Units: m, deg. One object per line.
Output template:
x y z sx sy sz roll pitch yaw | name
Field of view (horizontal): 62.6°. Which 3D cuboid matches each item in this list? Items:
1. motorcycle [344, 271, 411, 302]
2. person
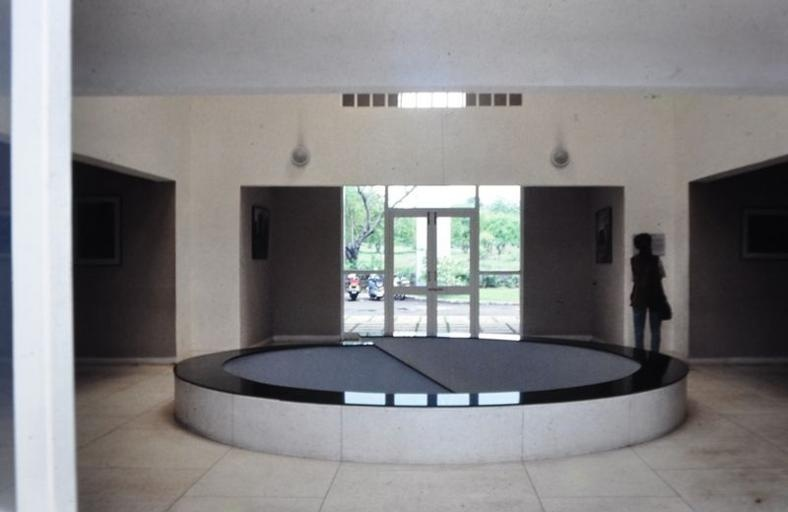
-0.277 0.454 9.682 0.968 0.413 0.133 1 4 19 | motorcycle
2.915 0.391 7.437 0.393 1.299 0.695 1 4 16 | person
